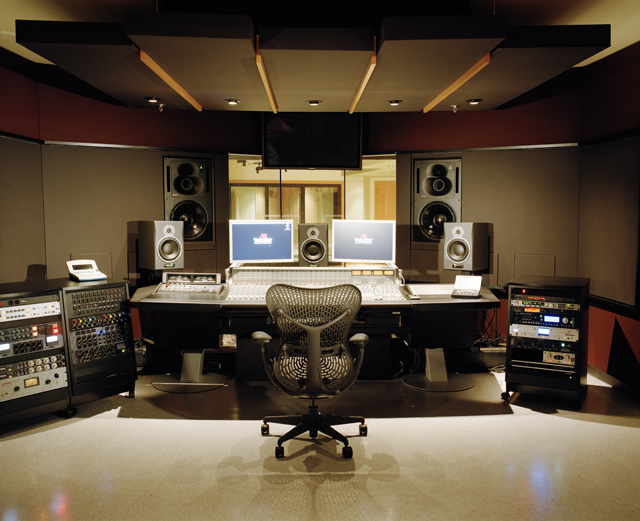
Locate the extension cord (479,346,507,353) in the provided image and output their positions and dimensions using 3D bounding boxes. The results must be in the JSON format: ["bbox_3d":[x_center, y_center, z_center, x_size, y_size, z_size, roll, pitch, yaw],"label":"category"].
[{"bbox_3d":[1.725,0.889,5.193,0.178,0.045,0.175,0,-2,6],"label":"extension cord"}]

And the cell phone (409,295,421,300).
[{"bbox_3d":[0.762,0.297,4.202,0.086,0.013,0.091,1,13,7],"label":"cell phone"}]

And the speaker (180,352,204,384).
[{"bbox_3d":[-1.133,0.945,4.597,0.220,0.346,0.232,1,-4,-7],"label":"speaker"}]

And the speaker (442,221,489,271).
[{"bbox_3d":[1.302,-0.174,4.852,0.275,0.448,0.415,1,16,16],"label":"speaker"}]

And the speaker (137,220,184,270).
[{"bbox_3d":[-1.489,-0.139,4.855,0.288,0.473,0.443,-4,6,-41],"label":"speaker"}]

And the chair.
[{"bbox_3d":[-0.050,0.704,3.687,0.797,1.206,0.715,0,8,-4],"label":"chair"}]

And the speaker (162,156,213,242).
[{"bbox_3d":[-1.388,-0.571,5.414,0.499,0.898,0.494,-1,2,-15],"label":"speaker"}]
